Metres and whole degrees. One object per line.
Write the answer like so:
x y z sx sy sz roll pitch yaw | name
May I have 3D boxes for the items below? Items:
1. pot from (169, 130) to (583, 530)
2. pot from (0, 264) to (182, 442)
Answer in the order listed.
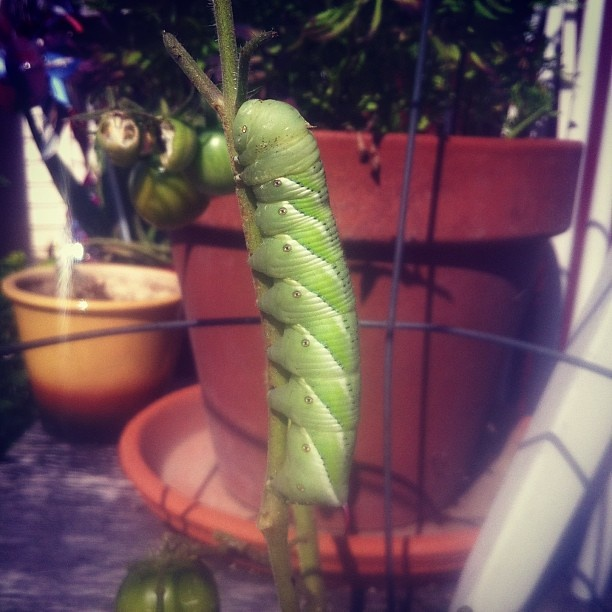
0.042 0.022 0.890 0.405 0.390 0.420 0 8 0 | pot
-0.227 0.054 0.780 0.172 0.136 0.178 0 -5 0 | pot
